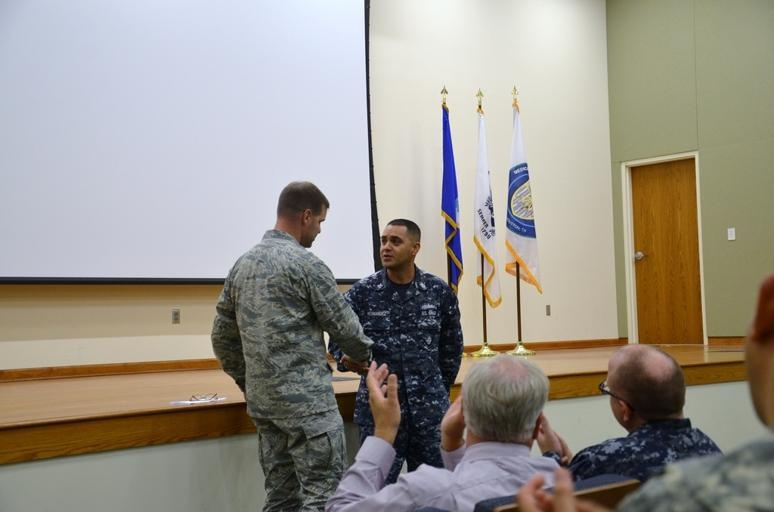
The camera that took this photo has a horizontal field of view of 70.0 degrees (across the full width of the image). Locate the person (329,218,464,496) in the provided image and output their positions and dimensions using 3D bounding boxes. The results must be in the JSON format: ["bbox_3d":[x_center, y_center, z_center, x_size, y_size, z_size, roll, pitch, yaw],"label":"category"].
[{"bbox_3d":[0.067,0.676,2.831,0.770,1.669,0.542,-1,-2,-22],"label":"person"}]

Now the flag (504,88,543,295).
[{"bbox_3d":[1.535,-0.768,6.252,0.373,2.355,0.795,-1,3,14],"label":"flag"}]

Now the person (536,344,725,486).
[{"bbox_3d":[0.983,0.615,2.091,0.821,0.480,0.405,-2,2,-27],"label":"person"}]

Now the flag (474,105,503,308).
[{"bbox_3d":[1.112,-0.553,6.139,0.258,2.171,0.647,-1,3,11],"label":"flag"}]
